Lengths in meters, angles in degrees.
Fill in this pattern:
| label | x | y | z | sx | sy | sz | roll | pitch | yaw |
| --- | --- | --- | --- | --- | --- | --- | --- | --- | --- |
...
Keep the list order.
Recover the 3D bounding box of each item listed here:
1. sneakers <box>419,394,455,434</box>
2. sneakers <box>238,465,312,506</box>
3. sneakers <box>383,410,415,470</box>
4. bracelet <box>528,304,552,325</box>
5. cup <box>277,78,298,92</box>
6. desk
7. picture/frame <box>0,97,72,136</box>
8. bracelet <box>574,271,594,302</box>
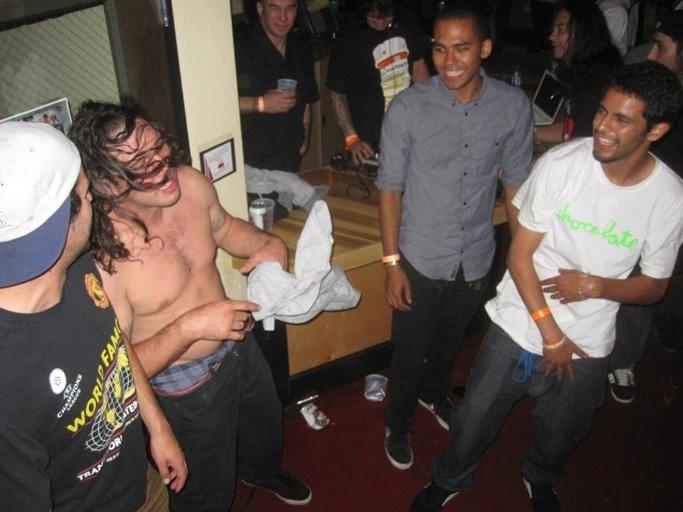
| label | x | y | z | sx | sy | sz | roll | pitch | yaw |
| --- | --- | --- | --- | --- | --- | --- | --- | --- | --- |
| sneakers | 0.555 | 0.917 | 3.099 | 0.262 | 0.186 | 0.088 | 34 | 51 | 29 |
| sneakers | -0.364 | 1.184 | 2.820 | 0.411 | 0.166 | 0.154 | 16 | 33 | 2 |
| sneakers | 0.309 | 1.004 | 2.969 | 0.111 | 0.120 | 0.308 | -2 | 39 | -8 |
| bracelet | 0.856 | 0.252 | 2.296 | 0.068 | 0.068 | 0.049 | -30 | 79 | -9 |
| cup | -0.326 | -1.045 | 3.265 | 0.097 | 0.084 | 0.180 | -2 | 30 | 1 |
| desk | 0.214 | 0.140 | 2.756 | 1.173 | 0.819 | 0.640 | -16 | 49 | -18 |
| picture/frame | -1.107 | -0.548 | 1.949 | 0.046 | 0.182 | 0.196 | 19 | 39 | 26 |
| bracelet | 1.010 | 0.130 | 2.219 | 0.033 | 0.089 | 0.078 | 0 | 10 | 2 |
